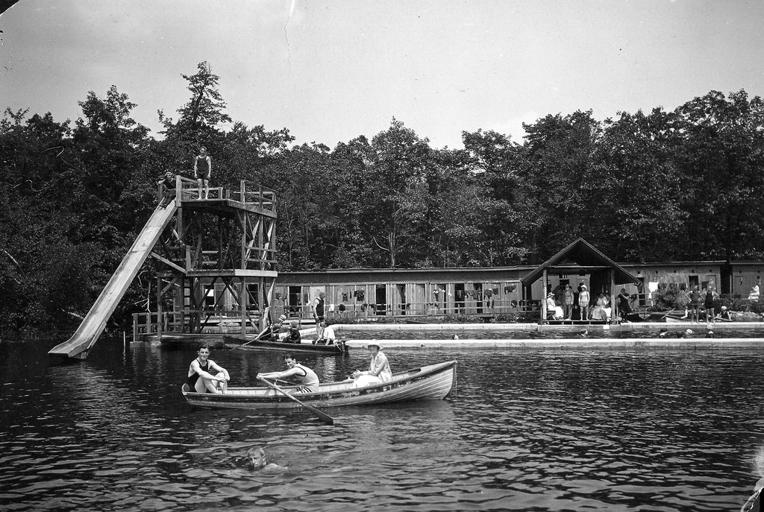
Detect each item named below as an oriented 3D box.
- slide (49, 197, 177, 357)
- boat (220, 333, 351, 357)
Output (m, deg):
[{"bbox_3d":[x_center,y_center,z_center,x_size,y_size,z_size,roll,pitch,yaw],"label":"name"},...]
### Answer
[{"bbox_3d":[-15.533,1.257,50.847,1.457,8.506,7.797,1,5,37],"label":"slide"},{"bbox_3d":[-5.454,5.161,50.531,7.345,1.025,5.904,0,-13,-4],"label":"boat"}]
